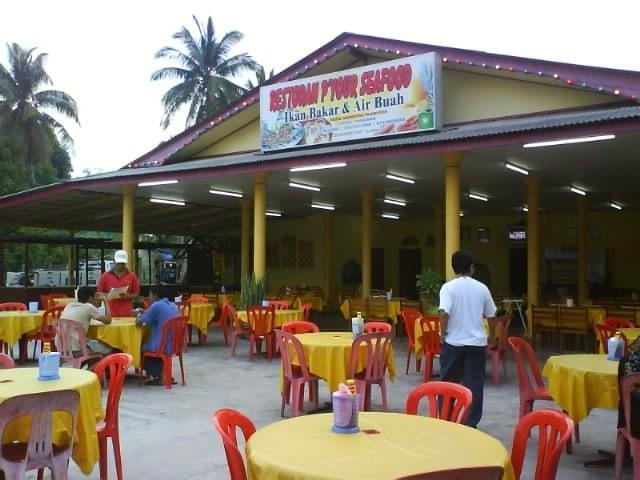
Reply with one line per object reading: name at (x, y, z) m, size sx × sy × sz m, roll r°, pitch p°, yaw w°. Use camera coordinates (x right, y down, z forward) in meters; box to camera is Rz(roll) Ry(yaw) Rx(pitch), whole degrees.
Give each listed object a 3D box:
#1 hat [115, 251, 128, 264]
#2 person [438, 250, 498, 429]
hat at (-2.953, 0.276, 8.958) m, size 0.139 × 0.124 × 0.224 m, roll 6°, pitch -2°, yaw -24°
person at (1.405, 0.953, 5.744) m, size 0.566 × 1.665 × 0.441 m, roll 2°, pitch -4°, yaw 0°
